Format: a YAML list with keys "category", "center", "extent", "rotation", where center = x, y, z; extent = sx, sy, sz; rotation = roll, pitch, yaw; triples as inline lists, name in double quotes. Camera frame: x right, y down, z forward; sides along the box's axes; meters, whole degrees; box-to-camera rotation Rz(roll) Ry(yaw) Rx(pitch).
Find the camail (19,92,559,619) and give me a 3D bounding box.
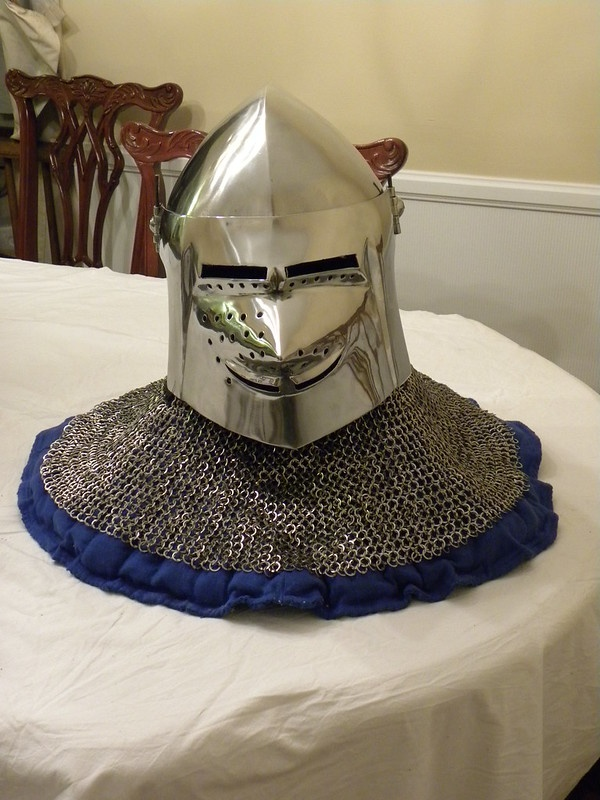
- category: "camail"
  center: [0.003, -0.030, 0.812]
  extent: [0.589, 0.392, 0.507]
  rotation: [-1, 31, 4]
